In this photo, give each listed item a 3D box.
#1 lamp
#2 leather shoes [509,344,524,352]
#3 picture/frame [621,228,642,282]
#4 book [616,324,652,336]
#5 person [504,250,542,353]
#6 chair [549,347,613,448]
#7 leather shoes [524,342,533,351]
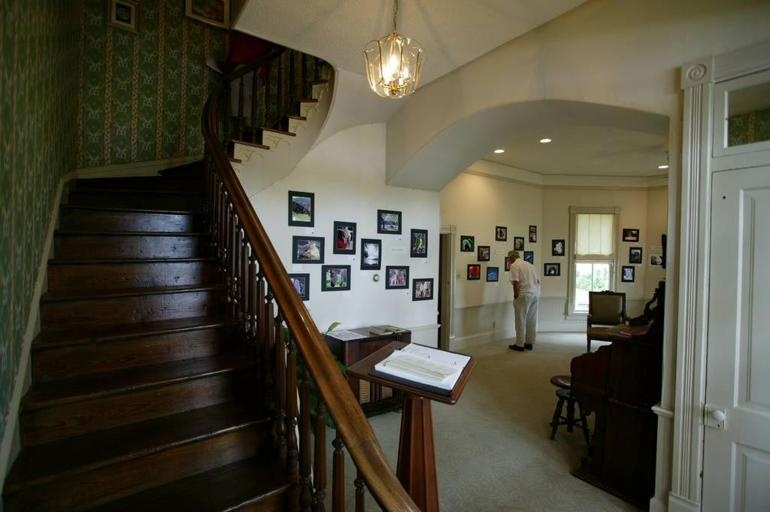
[{"bbox_3d":[0.111,-1.980,5.024,0.654,0.917,1.610,1,11,-3],"label":"lamp"},{"bbox_3d":[2.435,1.674,9.391,0.284,0.121,0.286,4,11,12],"label":"leather shoes"},{"bbox_3d":[5.403,-0.015,11.152,0.415,1.151,0.246,-1,11,-9],"label":"picture/frame"},{"bbox_3d":[2.470,0.757,5.093,0.229,0.057,0.216,-2,2,-37],"label":"book"},{"bbox_3d":[2.558,0.855,9.489,0.569,1.765,0.747,4,11,14],"label":"person"},{"bbox_3d":[2.126,1.468,5.655,0.548,1.346,1.085,5,11,19],"label":"chair"},{"bbox_3d":[2.657,1.675,9.459,0.153,0.099,0.313,5,12,17],"label":"leather shoes"}]
